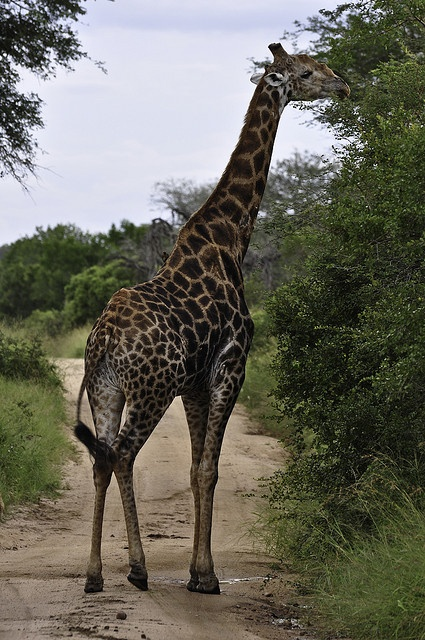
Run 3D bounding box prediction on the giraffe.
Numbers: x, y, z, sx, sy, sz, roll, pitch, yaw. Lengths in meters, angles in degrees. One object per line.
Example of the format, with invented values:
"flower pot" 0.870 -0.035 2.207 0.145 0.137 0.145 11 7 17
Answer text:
"giraffe" -0.149 -0.226 6.888 0.826 4.489 2.207 0 -3 29
